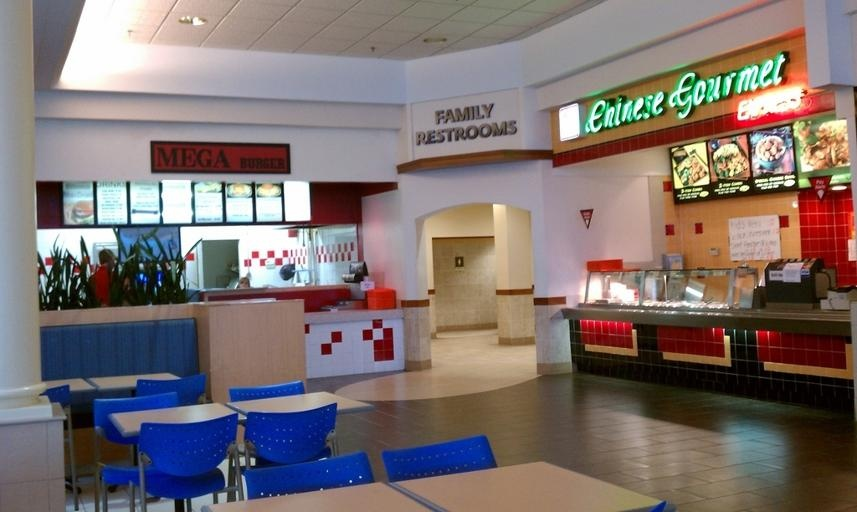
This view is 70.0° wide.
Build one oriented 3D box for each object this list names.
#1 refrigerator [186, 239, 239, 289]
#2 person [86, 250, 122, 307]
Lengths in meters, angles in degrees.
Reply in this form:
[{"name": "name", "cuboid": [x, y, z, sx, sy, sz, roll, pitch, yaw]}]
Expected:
[{"name": "refrigerator", "cuboid": [-4.293, 0.128, 12.047, 0.908, 1.169, 0.870, 2, 8, -4]}, {"name": "person", "cuboid": [-4.224, 0.293, 7.976, 0.274, 0.812, 0.255, 17, 32, -7]}]
